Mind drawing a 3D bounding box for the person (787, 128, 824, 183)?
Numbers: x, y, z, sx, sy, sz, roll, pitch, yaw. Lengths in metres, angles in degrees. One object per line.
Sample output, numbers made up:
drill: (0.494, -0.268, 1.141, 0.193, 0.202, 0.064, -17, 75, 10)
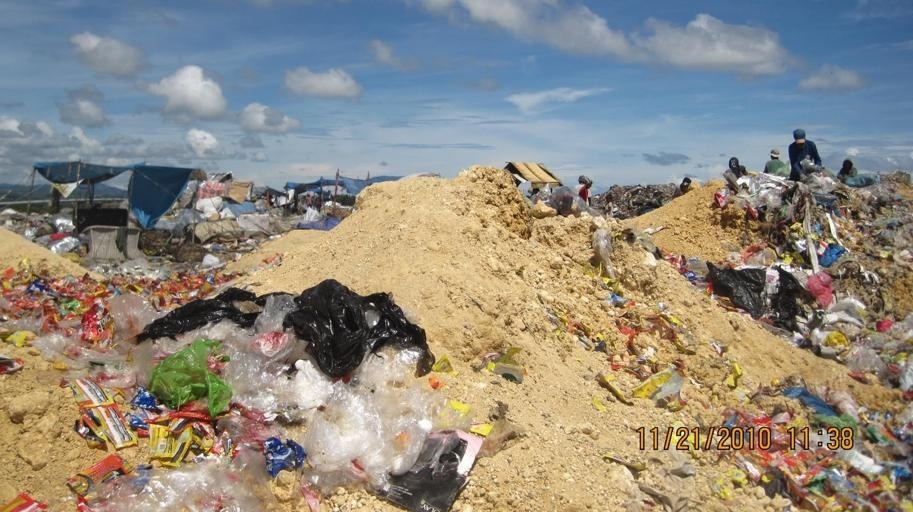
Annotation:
person: (7.541, -2.159, 12.112, 0.628, 1.021, 0.588, 8, 22, 26)

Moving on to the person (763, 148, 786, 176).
person: (7.066, -2.014, 12.334, 0.436, 0.544, 0.938, 8, 21, 28)
